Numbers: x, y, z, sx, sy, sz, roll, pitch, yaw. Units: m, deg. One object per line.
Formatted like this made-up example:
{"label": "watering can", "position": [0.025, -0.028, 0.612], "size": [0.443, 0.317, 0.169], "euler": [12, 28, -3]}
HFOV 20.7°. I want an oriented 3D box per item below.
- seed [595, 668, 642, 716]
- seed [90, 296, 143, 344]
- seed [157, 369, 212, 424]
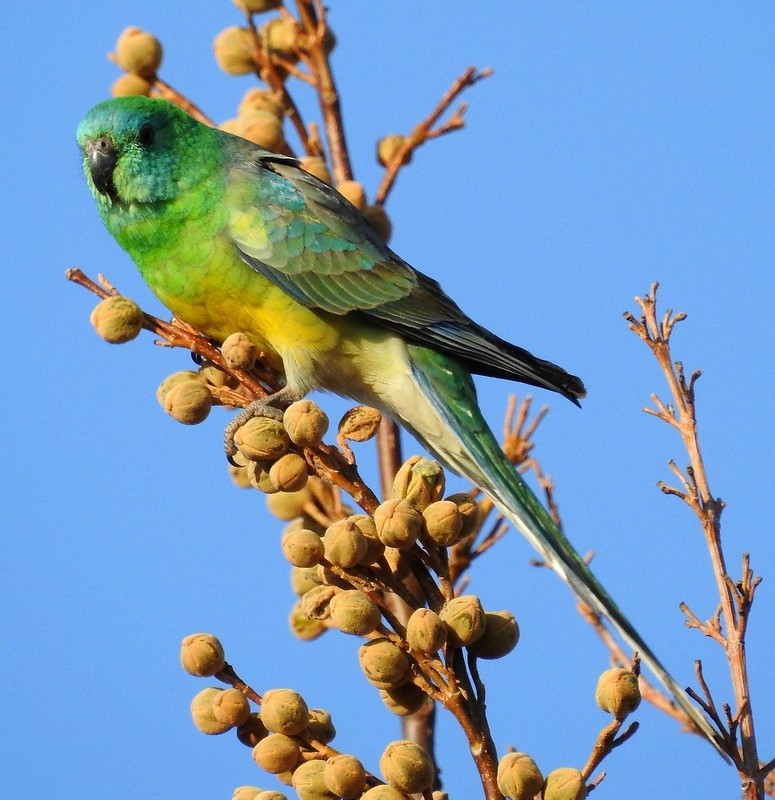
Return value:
{"label": "seed", "position": [0.403, 0.496, 3.647], "size": [0.072, 0.131, 0.067], "euler": [6, -57, 6]}
{"label": "seed", "position": [-0.514, -0.158, 4.039], "size": [0.090, 0.111, 0.096], "euler": [6, -58, 6]}
{"label": "seed", "position": [-0.363, -0.004, 3.833], "size": [0.065, 0.095, 0.086], "euler": [-15, -96, 14]}
